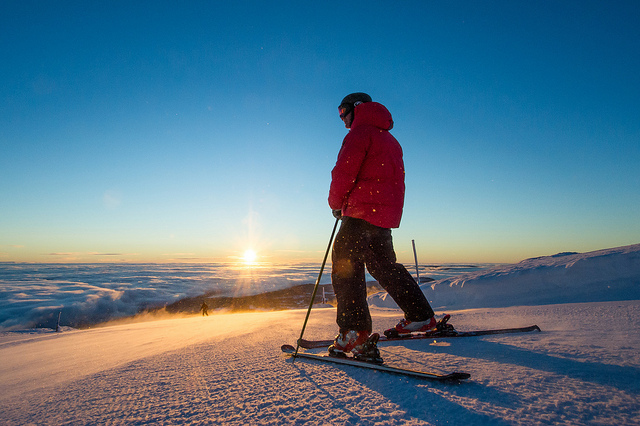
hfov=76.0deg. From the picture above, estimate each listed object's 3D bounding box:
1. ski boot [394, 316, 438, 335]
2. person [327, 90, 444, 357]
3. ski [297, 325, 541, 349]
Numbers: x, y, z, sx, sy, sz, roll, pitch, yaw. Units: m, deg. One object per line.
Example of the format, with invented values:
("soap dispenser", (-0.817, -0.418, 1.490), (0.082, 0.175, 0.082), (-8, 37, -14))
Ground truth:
("ski boot", (0.948, 1.101, 4.064), (0.459, 0.199, 0.164), (0, -10, 8))
("person", (0.461, 0.035, 3.896), (0.837, 2.494, 0.682), (-4, -7, 13))
("ski", (0.993, 1.162, 3.860), (2.105, 0.277, 0.241), (-2, -11, -1))
